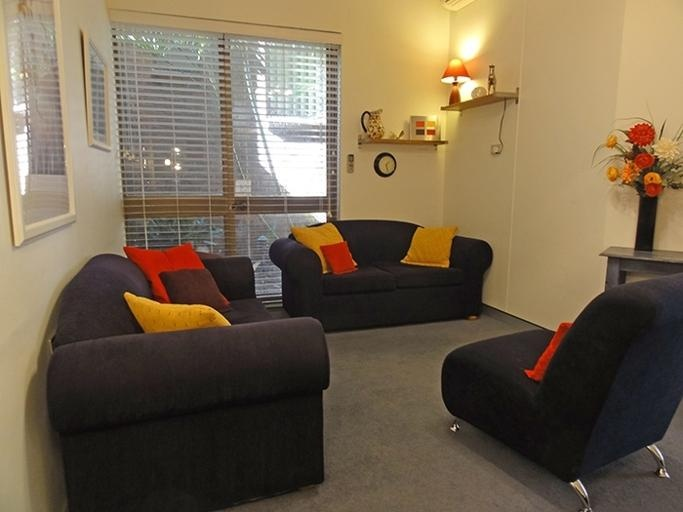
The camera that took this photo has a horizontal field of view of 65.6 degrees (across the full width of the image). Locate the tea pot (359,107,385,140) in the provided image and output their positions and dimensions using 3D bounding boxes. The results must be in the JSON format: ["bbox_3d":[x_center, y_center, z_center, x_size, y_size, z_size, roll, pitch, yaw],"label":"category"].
[{"bbox_3d":[0.313,-1.352,5.465,0.304,0.363,0.226,-2,10,-4],"label":"tea pot"}]

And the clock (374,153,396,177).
[{"bbox_3d":[0.474,-0.977,5.701,0.280,0.263,0.046,-8,15,-28],"label":"clock"}]

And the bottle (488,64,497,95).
[{"bbox_3d":[1.440,-1.699,5.060,0.079,0.277,0.260,3,14,15],"label":"bottle"}]

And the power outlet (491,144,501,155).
[{"bbox_3d":[1.489,-1.018,5.088,0.086,0.116,0.090,-2,9,-11],"label":"power outlet"}]
